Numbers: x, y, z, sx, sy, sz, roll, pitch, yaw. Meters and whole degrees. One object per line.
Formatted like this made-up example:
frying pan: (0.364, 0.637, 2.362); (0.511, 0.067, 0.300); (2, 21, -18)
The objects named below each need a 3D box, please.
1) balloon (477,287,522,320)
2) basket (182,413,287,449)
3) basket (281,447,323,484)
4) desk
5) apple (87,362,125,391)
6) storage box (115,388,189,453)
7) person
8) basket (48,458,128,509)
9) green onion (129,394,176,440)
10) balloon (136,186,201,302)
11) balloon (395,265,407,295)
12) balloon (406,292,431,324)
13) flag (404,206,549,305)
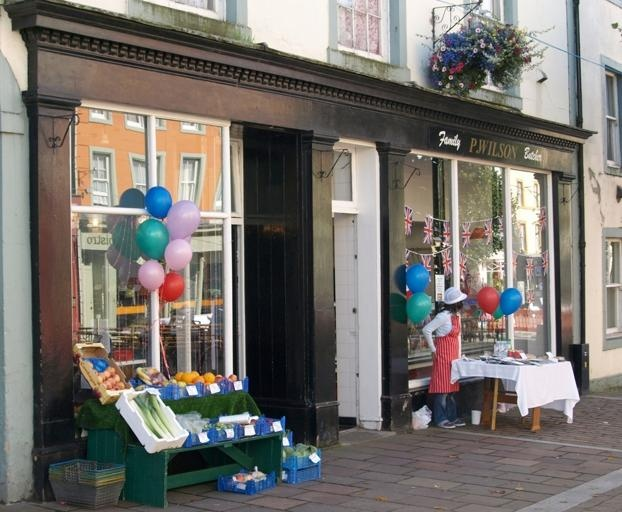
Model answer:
balloon: (2.660, 0.575, 13.791); (0.544, 0.590, 0.376); (2, 28, 12)
basket: (-0.821, 1.726, 9.871); (0.369, 0.148, 0.732); (-1, -3, 40)
basket: (-0.110, 2.186, 10.308); (0.432, 0.316, 0.271); (0, 4, -41)
desk: (2.609, 1.616, 12.897); (1.332, 0.970, 1.447); (2, 3, -30)
apple: (-2.025, 1.164, 9.632); (0.312, 0.242, 0.274); (7, 8, 27)
storage box: (-1.545, 1.546, 9.385); (0.471, 0.716, 0.245); (-14, -28, -49)
person: (1.717, 1.294, 12.972); (0.554, 1.834, 0.588); (1, -1, -41)
basket: (-2.162, 2.138, 9.349); (0.528, 0.338, 0.421); (-2, -5, 25)
green onion: (-1.546, 1.519, 9.410); (0.157, 0.510, 0.256); (-39, -20, 35)
balloon: (-1.503, -0.111, 10.090); (0.634, 1.198, 0.549); (2, 6, -12)
balloon: (1.183, 0.299, 12.649); (0.135, 0.387, 0.285); (6, 7, 28)
balloon: (1.368, 0.640, 12.455); (0.307, 0.385, 0.221); (4, 6, 9)
flag: (2.483, 0.030, 14.320); (0.283, 1.537, 3.701); (8, 8, 41)
